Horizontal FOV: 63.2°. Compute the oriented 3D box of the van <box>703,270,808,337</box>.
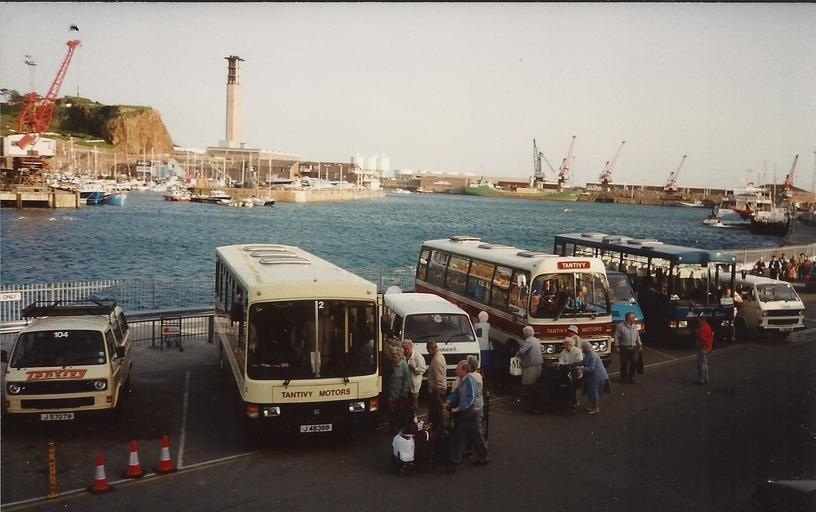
[{"bbox_3d":[13.202,1.758,25.437,2.227,1.764,3.759,-1,3,-15],"label":"van"}]

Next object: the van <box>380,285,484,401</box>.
[{"bbox_3d":[0.516,2.104,19.417,1.817,1.602,3.203,0,1,-12],"label":"van"}]

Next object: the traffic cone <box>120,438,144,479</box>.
[{"bbox_3d":[-6.122,4.548,14.780,0.665,0.710,0.637,2,-8,-25],"label":"traffic cone"}]

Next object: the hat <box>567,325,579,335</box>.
[{"bbox_3d":[4.798,2.169,19.224,0.259,0.174,0.333,24,-1,5],"label":"hat"}]

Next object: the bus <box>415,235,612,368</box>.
[{"bbox_3d":[3.192,1.000,23.037,2.769,2.704,8.327,-1,4,-23],"label":"bus"}]

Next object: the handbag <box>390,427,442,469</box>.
[{"bbox_3d":[0.141,4.423,15.142,0.985,0.913,0.372,-8,17,-32],"label":"handbag"}]

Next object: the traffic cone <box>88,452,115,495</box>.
[{"bbox_3d":[-6.661,4.711,14.348,0.629,0.694,0.632,-2,-6,-4],"label":"traffic cone"}]
